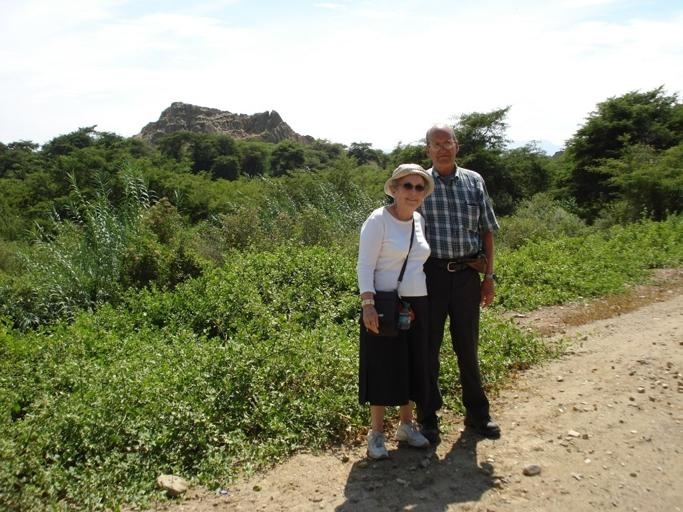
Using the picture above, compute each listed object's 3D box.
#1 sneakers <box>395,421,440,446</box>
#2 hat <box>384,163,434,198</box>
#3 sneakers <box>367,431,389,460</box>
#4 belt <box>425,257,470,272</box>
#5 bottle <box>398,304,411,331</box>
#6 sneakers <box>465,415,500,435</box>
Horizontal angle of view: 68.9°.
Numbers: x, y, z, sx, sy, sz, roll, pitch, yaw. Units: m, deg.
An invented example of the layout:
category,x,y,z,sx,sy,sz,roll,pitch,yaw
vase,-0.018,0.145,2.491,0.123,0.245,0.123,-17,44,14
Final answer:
category,x,y,z,sx,sy,sz,roll,pitch,yaw
sneakers,0.677,1.673,4.702,0.464,0.180,0.189,-2,2,39
hat,0.643,-0.686,4.517,0.495,0.303,0.325,-1,14,-6
sneakers,0.330,1.713,4.426,0.127,0.133,0.323,0,-8,-4
belt,1.002,0.082,4.661,0.411,0.122,0.107,2,14,6
bottle,0.551,0.526,4.277,0.088,0.229,0.128,5,15,17
sneakers,1.390,1.654,4.877,0.300,0.135,0.134,10,23,43
